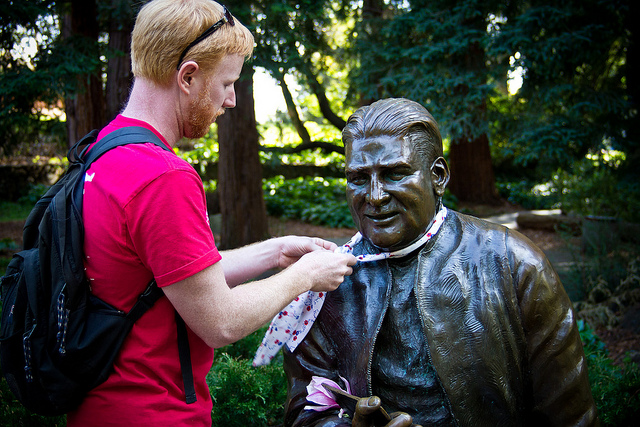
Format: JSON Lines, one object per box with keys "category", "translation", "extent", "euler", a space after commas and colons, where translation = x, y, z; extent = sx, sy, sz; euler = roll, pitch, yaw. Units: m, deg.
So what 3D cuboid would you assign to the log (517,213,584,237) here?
{"category": "log", "translation": [4.116, 0.190, 12.995], "extent": [0.508, 0.185, 0.546], "euler": [3, 0, -23]}
